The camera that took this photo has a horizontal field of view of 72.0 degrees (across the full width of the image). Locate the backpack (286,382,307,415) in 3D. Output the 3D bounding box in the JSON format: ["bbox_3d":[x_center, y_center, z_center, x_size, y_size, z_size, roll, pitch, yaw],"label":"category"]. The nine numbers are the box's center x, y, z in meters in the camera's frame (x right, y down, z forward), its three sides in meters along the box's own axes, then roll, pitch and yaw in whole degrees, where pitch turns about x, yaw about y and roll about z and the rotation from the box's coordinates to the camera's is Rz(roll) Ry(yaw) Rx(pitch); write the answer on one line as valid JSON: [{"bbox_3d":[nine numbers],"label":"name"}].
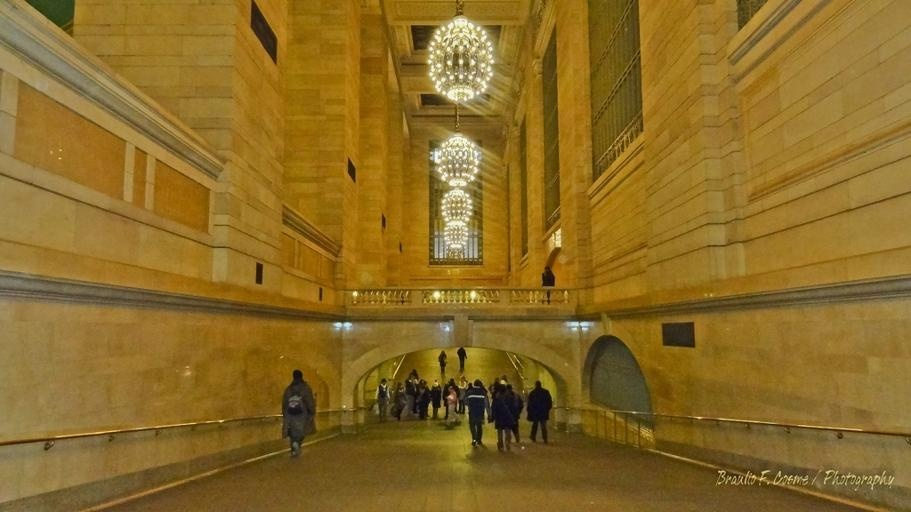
[{"bbox_3d":[-3.832,3.422,15.052,0.314,0.716,0.379,-2,-5,24],"label":"backpack"}]

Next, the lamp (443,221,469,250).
[{"bbox_3d":[-0.114,-1.122,34.030,1.428,1.334,1.387,-1,-3,9],"label":"lamp"}]

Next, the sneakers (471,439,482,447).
[{"bbox_3d":[0.597,5.134,17.262,0.283,0.165,0.434,0,-5,-2],"label":"sneakers"}]
